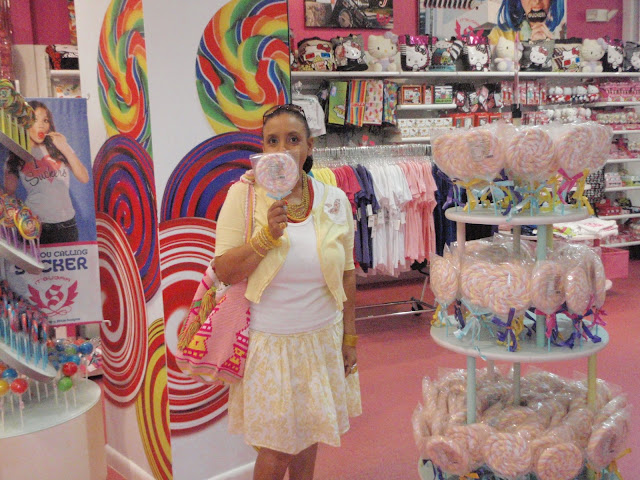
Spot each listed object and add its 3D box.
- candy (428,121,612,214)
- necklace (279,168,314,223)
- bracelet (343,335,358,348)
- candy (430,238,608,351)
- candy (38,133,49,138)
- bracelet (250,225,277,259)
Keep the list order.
[{"bbox_3d":[0.825,-0.278,2.164,0.550,0.359,0.434,-4,2,-2],"label":"candy"},{"bbox_3d":[-0.061,-0.163,2.034,0.115,0.179,0.038,2,-6,-22],"label":"necklace"},{"bbox_3d":[0.131,0.424,2.206,0.047,0.040,0.050,8,3,21],"label":"bracelet"},{"bbox_3d":[0.850,0.199,2.227,0.555,0.406,0.498,1,1,34],"label":"candy"},{"bbox_3d":[-1.579,-0.591,2.939,0.036,0.029,0.012,4,4,-19],"label":"candy"},{"bbox_3d":[-0.206,0.006,1.891,0.090,0.104,0.058,9,13,-1],"label":"bracelet"}]
